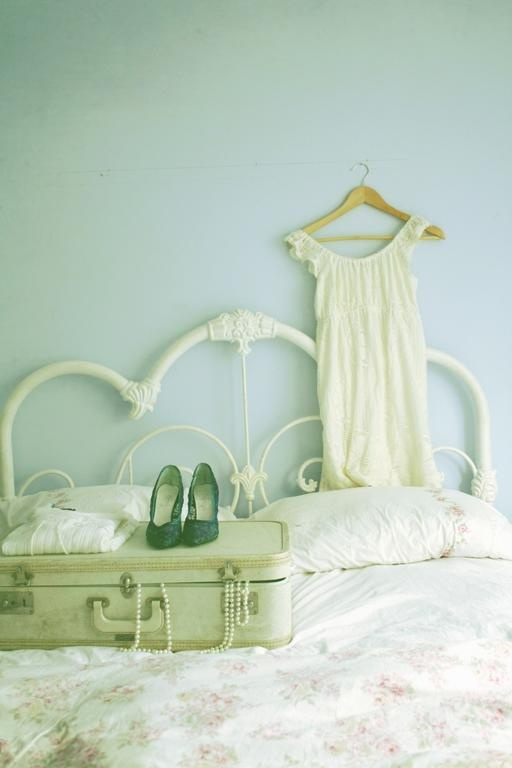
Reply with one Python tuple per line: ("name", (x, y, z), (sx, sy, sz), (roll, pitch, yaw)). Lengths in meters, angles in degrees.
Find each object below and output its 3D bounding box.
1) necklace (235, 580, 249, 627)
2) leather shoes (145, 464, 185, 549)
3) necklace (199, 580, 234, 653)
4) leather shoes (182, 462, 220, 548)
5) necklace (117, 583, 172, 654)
("necklace", (-0.031, 0.504, 1.907), (0.035, 0.099, 0.016), (-1, -8, -9))
("leather shoes", (-0.230, 0.322, 2.093), (0.087, 0.059, 0.219), (0, 27, -1))
("necklace", (-0.084, 0.532, 1.908), (0.069, 0.158, 0.025), (-2, -8, 1))
("leather shoes", (-0.142, 0.318, 2.111), (0.077, 0.058, 0.202), (2, 27, 0))
("necklace", (-0.240, 0.537, 1.915), (0.108, 0.143, 0.037), (0, -1, 2))
